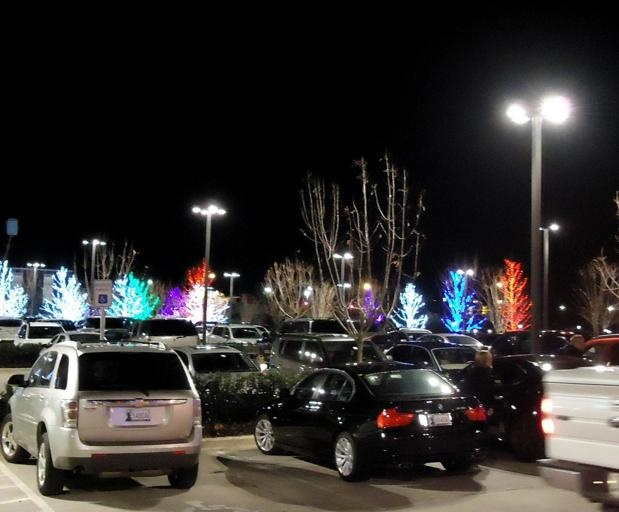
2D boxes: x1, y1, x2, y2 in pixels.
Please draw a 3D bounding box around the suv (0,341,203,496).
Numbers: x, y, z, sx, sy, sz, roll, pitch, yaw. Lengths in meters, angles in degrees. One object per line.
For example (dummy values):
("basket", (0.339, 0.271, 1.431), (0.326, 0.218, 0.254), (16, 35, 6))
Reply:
("suv", (-3.101, 2.193, 7.426), (1.787, 1.354, 3.017), (3, -1, -25))
